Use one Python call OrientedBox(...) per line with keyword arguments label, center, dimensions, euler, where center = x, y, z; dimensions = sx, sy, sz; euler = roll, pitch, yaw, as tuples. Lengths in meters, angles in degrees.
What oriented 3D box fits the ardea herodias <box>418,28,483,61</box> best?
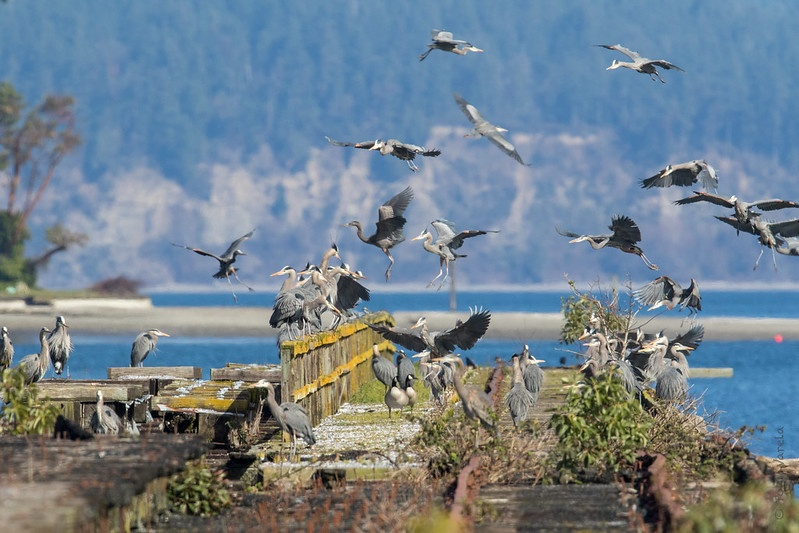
OrientedBox(label="ardea herodias", center=(1.649, -7.361, 60.995), dimensions=(1.269, 0.825, 0.926), euler=(3, 17, 8))
